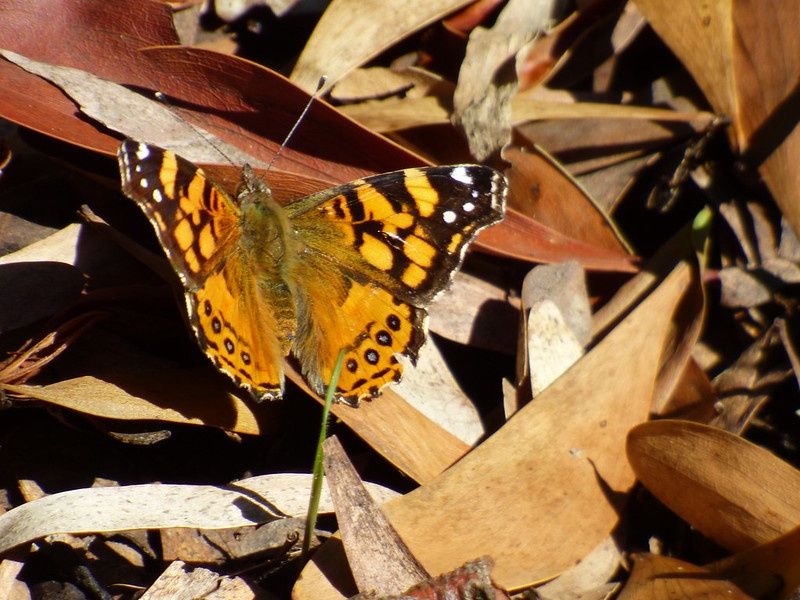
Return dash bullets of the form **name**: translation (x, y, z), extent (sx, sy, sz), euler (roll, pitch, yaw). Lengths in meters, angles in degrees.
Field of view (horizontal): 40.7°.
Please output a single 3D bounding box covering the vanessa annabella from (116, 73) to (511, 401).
- **vanessa annabella**: translation (-0.171, -0.069, 1.974), extent (1.005, 0.457, 0.243), euler (-5, 14, -1)
